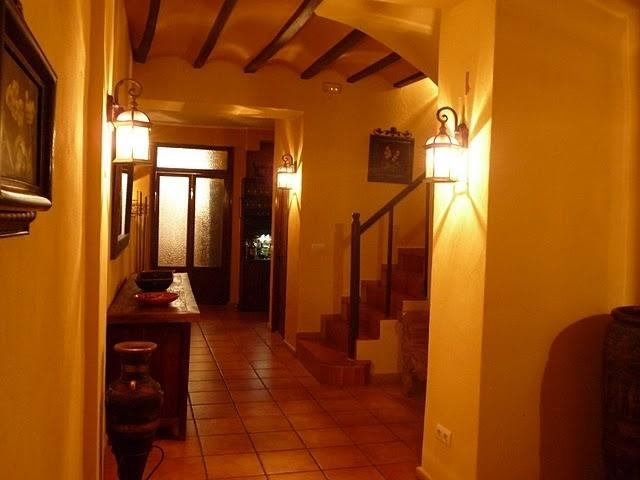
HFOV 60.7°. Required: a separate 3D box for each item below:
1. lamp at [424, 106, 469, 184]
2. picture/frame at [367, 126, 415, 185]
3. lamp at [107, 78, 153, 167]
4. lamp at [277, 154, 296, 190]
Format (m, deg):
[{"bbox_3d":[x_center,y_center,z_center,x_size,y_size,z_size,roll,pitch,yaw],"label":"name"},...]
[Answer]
[{"bbox_3d":[0.830,-0.640,3.633,0.269,0.506,0.228,1,3,-6],"label":"lamp"},{"bbox_3d":[0.874,-1.114,6.963,0.741,0.950,0.090,-1,5,-16],"label":"picture/frame"},{"bbox_3d":[-1.288,-0.794,3.671,0.280,0.627,0.258,1,-8,-12],"label":"lamp"},{"bbox_3d":[-0.418,-0.906,7.182,0.269,0.468,0.320,2,3,7],"label":"lamp"}]
